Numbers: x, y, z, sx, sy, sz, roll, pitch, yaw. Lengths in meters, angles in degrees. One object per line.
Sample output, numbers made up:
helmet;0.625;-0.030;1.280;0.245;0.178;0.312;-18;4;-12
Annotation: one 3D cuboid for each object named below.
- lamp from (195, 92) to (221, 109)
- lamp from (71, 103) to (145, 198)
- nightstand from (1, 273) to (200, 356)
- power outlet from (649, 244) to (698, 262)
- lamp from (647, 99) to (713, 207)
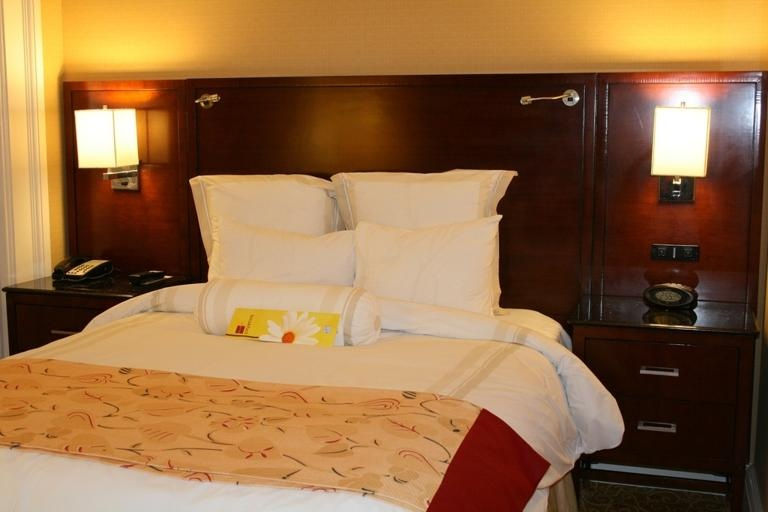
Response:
lamp;-1.037;-0.911;3.632;0.160;0.091;0.039;2;11;15
lamp;-1.620;-0.626;3.668;0.321;0.486;0.253;-2;10;-11
nightstand;-1.679;0.136;3.588;0.737;0.653;0.516;4;10;24
power outlet;1.526;-0.017;3.279;0.234;0.089;0.021;1;11;8
lamp;1.511;-0.527;3.181;0.252;0.512;0.227;5;12;27
